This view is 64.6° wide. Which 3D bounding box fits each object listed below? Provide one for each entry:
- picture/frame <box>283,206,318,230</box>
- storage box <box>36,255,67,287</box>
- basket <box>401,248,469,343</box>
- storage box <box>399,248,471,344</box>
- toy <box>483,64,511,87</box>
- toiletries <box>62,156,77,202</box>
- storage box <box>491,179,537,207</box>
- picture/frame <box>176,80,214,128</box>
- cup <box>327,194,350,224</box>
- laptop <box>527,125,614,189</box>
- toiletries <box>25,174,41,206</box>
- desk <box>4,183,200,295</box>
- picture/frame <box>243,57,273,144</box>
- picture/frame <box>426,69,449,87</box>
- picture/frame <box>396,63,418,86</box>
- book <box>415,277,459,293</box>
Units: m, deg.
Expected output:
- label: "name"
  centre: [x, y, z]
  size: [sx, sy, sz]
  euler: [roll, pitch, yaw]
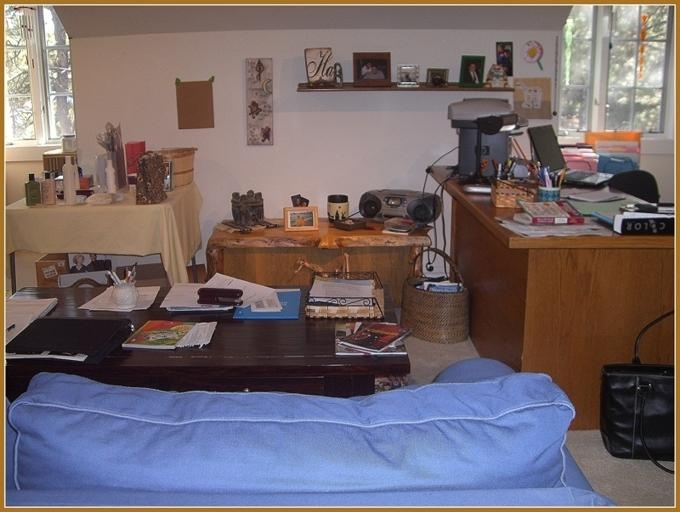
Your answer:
- label: "picture/frame"
  centre: [-0.257, -0.253, 3.575]
  size: [0.169, 0.113, 0.017]
  euler: [-3, 0, -18]
- label: "storage box"
  centre: [-1.874, 0.101, 3.498]
  size: [0.118, 0.128, 0.196]
  euler: [0, 10, -5]
- label: "basket"
  centre: [0.579, 0.248, 3.263]
  size: [0.330, 0.573, 0.456]
  euler: [-16, 21, -39]
- label: "storage box"
  centre: [0.575, 0.253, 3.254]
  size: [0.317, 0.553, 0.450]
  euler: [-16, 21, -38]
- label: "toy"
  centre: [1.170, -1.353, 4.007]
  size: [0.180, 0.161, 0.095]
  euler: [-1, 18, -1]
- label: "toiletries"
  centre: [-1.646, -0.486, 3.271]
  size: [0.077, 0.271, 0.073]
  euler: [-17, -11, 18]
- label: "storage box"
  centre: [0.836, -0.306, 2.551]
  size: [0.159, 0.069, 0.163]
  euler: [2, 15, 6]
- label: "picture/frame"
  centre: [-1.099, -1.157, 4.099]
  size: [0.341, 0.317, 0.078]
  euler: [-2, 9, 4]
- label: "cup"
  centre: [-0.016, -0.326, 3.790]
  size: [0.181, 0.184, 0.175]
  euler: [1, 9, 0]
- label: "laptop"
  centre: [1.287, -0.562, 3.039]
  size: [0.438, 0.306, 0.509]
  euler: [3, 14, 25]
- label: "toiletries"
  centre: [-1.859, -0.402, 3.285]
  size: [0.095, 0.201, 0.051]
  euler: [-9, -5, -18]
- label: "desk"
  centre: [-1.560, -0.166, 3.540]
  size: [1.159, 0.618, 0.790]
  euler: [-1, 8, -7]
- label: "picture/frame"
  centre: [-0.608, -1.179, 4.092]
  size: [0.205, 0.625, 0.089]
  euler: [-2, 8, -11]
- label: "picture/frame"
  centre: [0.707, -1.298, 3.898]
  size: [0.151, 0.135, 0.079]
  euler: [1, 12, 5]
- label: "picture/frame"
  centre: [0.500, -1.316, 3.902]
  size: [0.153, 0.142, 0.101]
  euler: [0, 8, 3]
- label: "book"
  centre: [0.607, 0.177, 3.348]
  size: [0.164, 0.058, 0.127]
  euler: [1, 9, -8]
